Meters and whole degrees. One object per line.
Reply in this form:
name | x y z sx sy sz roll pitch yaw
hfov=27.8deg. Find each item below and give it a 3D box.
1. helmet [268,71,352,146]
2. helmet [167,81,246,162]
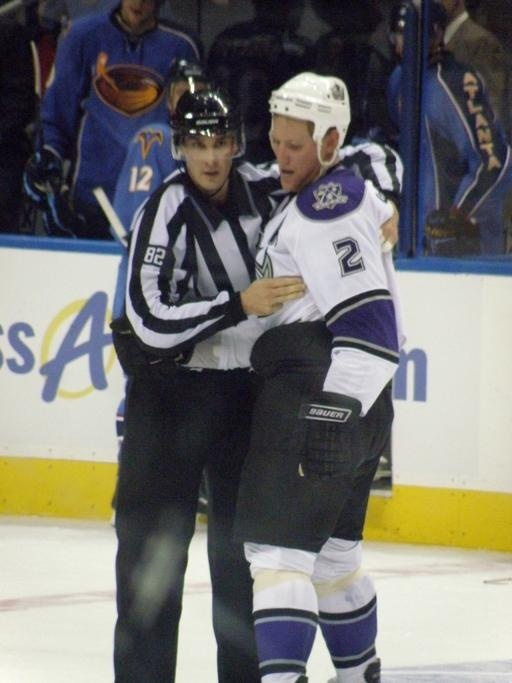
helmet | 0.146 -0.582 2.640 0.205 0.195 0.169 -9 26 -26
helmet | -0.140 -0.602 2.813 0.179 0.206 0.226 -6 13 -10
